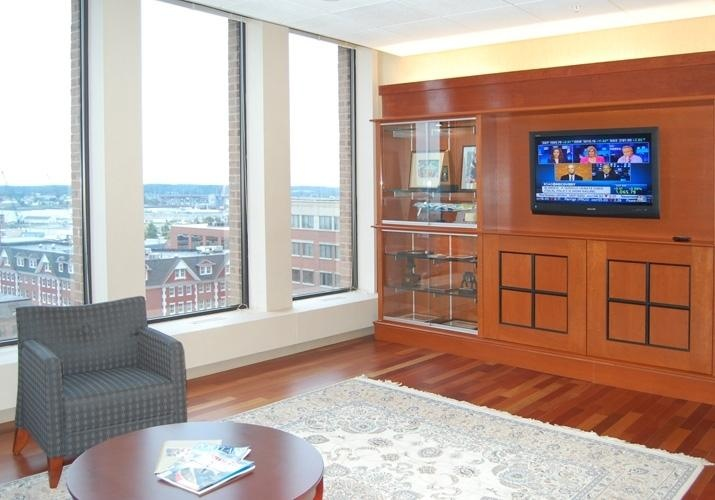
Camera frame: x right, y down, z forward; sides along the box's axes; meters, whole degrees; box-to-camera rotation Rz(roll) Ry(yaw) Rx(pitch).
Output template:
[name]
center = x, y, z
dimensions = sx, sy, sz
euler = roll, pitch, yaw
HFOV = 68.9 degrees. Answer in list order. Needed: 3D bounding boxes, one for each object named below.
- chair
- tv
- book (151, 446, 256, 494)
[chair]
center = -1.924, 0.963, 3.913
dimensions = 0.914, 0.910, 1.110
euler = 11, 8, 33
[tv]
center = 2.462, -0.817, 5.322
dimensions = 1.201, 0.747, 0.123
euler = 3, 10, 34
[book]
center = -0.799, 1.167, 2.808
dimensions = 0.433, 0.050, 0.413
euler = 5, 10, 30
